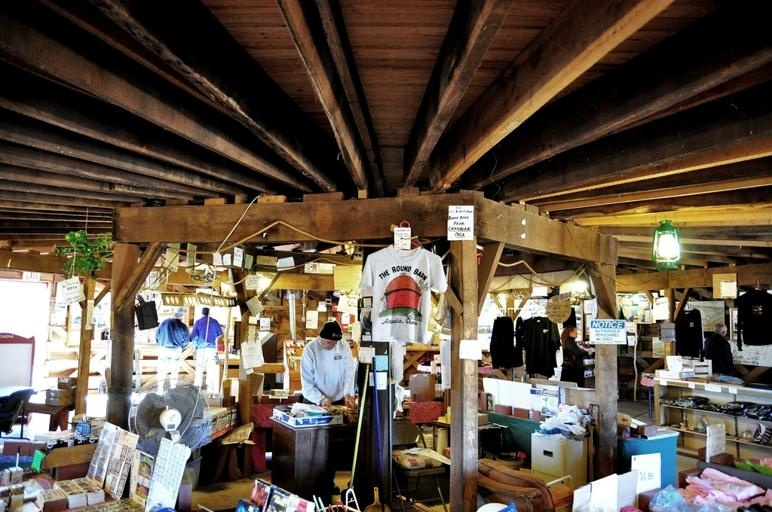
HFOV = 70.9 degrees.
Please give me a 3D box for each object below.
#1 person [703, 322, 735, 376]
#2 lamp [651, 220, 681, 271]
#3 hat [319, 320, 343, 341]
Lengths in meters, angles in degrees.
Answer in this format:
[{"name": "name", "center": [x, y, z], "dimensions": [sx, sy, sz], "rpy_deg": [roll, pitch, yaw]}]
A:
[{"name": "person", "center": [6.447, 1.802, 10.490], "dimensions": [0.482, 0.961, 0.673], "rpy_deg": [-2, -7, 34]}, {"name": "lamp", "center": [3.466, -0.156, 6.684], "dimensions": [0.279, 0.564, 0.380], "rpy_deg": [-1, -6, 25]}, {"name": "hat", "center": [-0.690, 0.950, 6.880], "dimensions": [0.239, 0.197, 0.258], "rpy_deg": [11, -19, -9]}]
